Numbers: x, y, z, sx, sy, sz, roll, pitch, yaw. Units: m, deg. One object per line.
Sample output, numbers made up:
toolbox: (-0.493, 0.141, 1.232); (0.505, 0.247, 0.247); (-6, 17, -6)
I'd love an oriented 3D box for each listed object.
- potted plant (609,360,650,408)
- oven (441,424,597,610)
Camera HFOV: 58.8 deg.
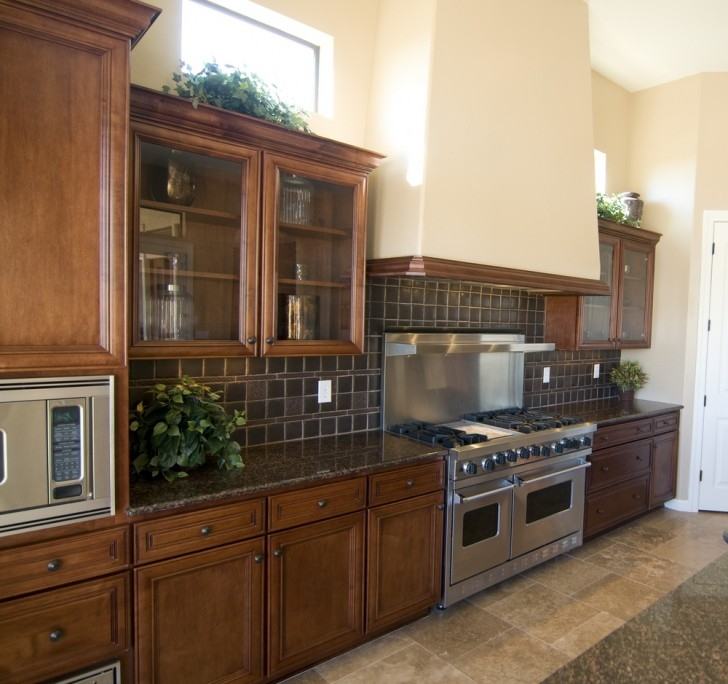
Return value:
potted plant: (1.910, 0.317, 4.900); (0.363, 0.326, 0.336); (-3, 6, -23)
oven: (0.683, 0.844, 3.558); (1.236, 0.789, 0.669); (-3, 4, -44)
